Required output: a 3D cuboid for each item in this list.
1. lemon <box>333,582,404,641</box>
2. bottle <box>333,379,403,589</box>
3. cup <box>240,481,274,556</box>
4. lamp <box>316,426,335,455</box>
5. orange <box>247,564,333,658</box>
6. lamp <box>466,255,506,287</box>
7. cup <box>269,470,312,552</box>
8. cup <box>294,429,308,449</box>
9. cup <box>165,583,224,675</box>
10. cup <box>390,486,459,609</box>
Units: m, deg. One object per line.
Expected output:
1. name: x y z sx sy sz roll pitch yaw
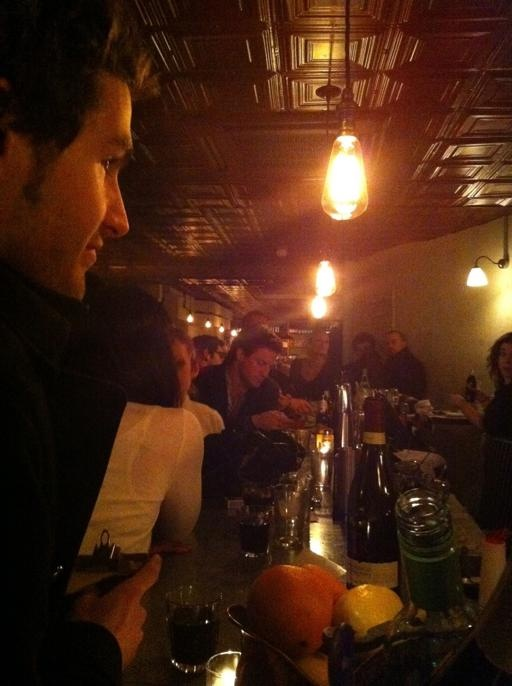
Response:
1. lemon: 0.147 0.330 0.671 0.090 0.040 0.081 9 -8 -18
2. bottle: 0.236 0.286 1.090 0.102 0.342 0.447 4 -8 11
3. cup: 0.007 0.505 1.512 0.094 0.157 0.096 1 -2 0
4. lamp: 0.300 0.424 2.325 0.075 0.089 0.075 4 -6 -25
5. orange: 0.052 0.328 0.722 0.096 0.101 0.099 5 -3 16
6. lamp: 2.846 -0.907 6.958 0.545 0.474 0.320 2 3 -4
7. cup: 0.140 0.510 1.599 0.128 0.211 0.133 4 -17 1
8. cup: 0.255 0.508 2.899 0.088 0.105 0.097 0 -2 14
9. cup: -0.098 0.479 0.922 0.080 0.095 0.088 1 -8 0
10. cup: 0.180 0.214 0.567 0.069 0.112 0.092 3 -9 17
